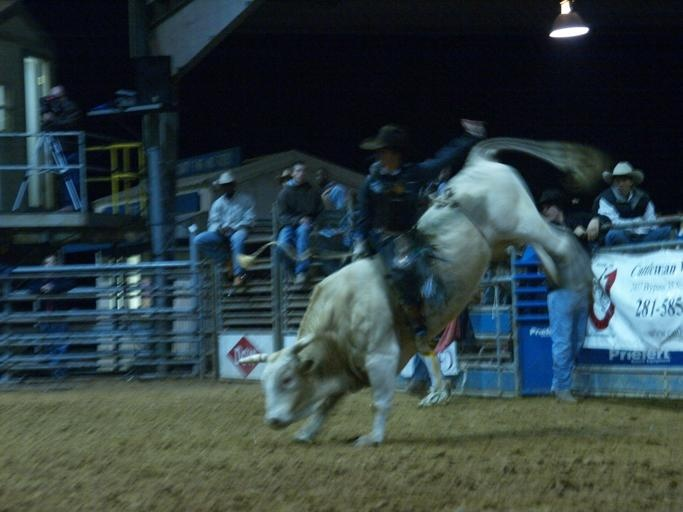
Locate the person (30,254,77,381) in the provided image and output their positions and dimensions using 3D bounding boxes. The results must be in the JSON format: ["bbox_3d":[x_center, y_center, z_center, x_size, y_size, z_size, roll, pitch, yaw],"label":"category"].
[{"bbox_3d":[-5.268,1.283,18.723,0.795,1.768,1.078,-6,10,-23],"label":"person"}]

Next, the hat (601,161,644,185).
[{"bbox_3d":[4.182,-1.251,15.007,0.460,0.186,0.528,-4,-12,32],"label":"hat"}]

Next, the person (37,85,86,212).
[{"bbox_3d":[-5.384,-2.077,19.569,0.703,2.384,0.700,-5,10,-15],"label":"person"}]

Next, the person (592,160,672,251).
[{"bbox_3d":[4.211,-0.762,15.075,1.263,1.572,1.199,-8,-2,3],"label":"person"}]

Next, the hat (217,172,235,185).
[{"bbox_3d":[-2.084,-1.394,18.200,0.376,0.166,0.357,-5,-3,-23],"label":"hat"}]

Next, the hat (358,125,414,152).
[{"bbox_3d":[0.531,-1.491,12.759,0.486,0.191,0.312,-6,18,-10],"label":"hat"}]
